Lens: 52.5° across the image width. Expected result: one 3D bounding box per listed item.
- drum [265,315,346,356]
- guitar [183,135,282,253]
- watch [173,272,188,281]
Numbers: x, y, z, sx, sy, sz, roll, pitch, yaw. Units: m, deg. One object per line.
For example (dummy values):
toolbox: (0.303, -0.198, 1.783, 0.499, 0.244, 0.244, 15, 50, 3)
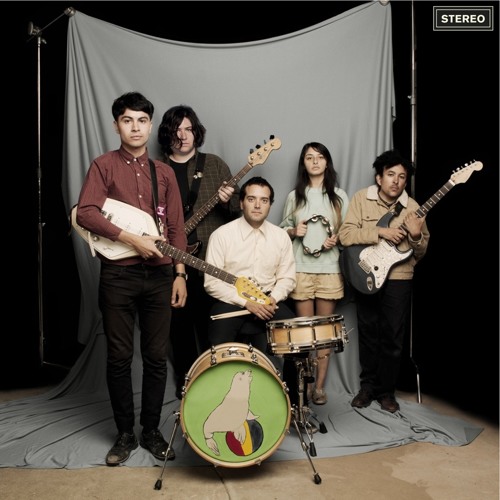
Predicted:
drum: (0.323, 0.434, 2.616, 0.305, 0.133, 0.335, -5, -9, -1)
guitar: (-0.165, -0.558, 3.666, 0.138, 0.450, 1.469, -17, 12, 28)
watch: (-0.389, 0.141, 2.807, 0.066, 0.031, 0.076, -4, -5, 10)
